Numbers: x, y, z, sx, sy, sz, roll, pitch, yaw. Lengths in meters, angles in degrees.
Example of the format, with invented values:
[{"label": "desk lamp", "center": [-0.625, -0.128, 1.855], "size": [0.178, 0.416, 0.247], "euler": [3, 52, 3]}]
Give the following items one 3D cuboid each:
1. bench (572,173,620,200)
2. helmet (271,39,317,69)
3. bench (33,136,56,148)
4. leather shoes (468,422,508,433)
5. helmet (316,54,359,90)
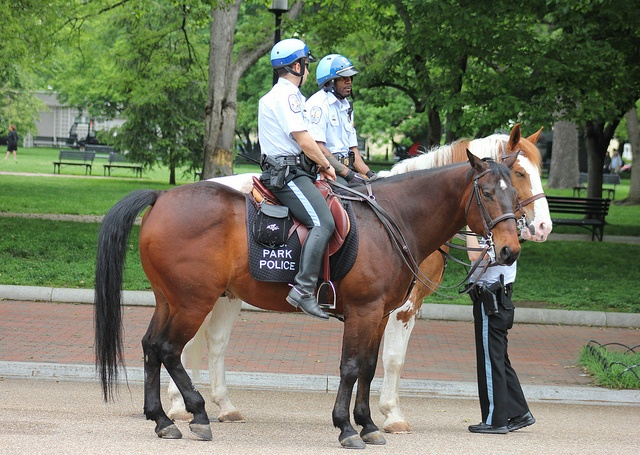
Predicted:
[{"label": "bench", "center": [11.165, -1.678, 37.172], "size": [1.966, 1.295, 0.838], "euler": [1, -1, 24]}, {"label": "helmet", "center": [-0.421, -2.634, 13.897], "size": [0.572, 0.305, 0.425], "euler": [-4, 7, -10]}, {"label": "bench", "center": [-20.896, -6.503, 69.251], "size": [1.132, 0.727, 1.152], "euler": [0, 2, 5]}, {"label": "leather shoes", "center": [2.586, 3.108, 14.038], "size": [0.577, 0.250, 0.217], "euler": [3, -3, 6]}, {"label": "helmet", "center": [0.277, -2.547, 14.735], "size": [0.615, 0.376, 0.427], "euler": [5, 13, 28]}]
